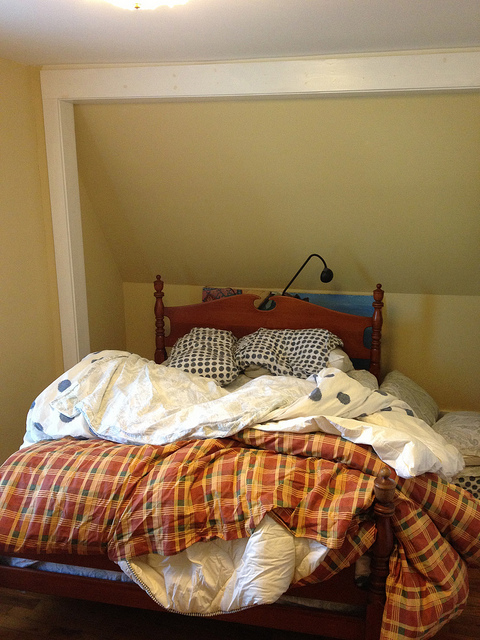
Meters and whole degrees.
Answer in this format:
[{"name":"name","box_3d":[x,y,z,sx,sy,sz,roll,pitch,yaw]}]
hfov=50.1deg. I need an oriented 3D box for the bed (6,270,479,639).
[{"name":"bed","box_3d":[0.056,0.500,2.226,1.617,0.909,1.602,3,21,8]}]
